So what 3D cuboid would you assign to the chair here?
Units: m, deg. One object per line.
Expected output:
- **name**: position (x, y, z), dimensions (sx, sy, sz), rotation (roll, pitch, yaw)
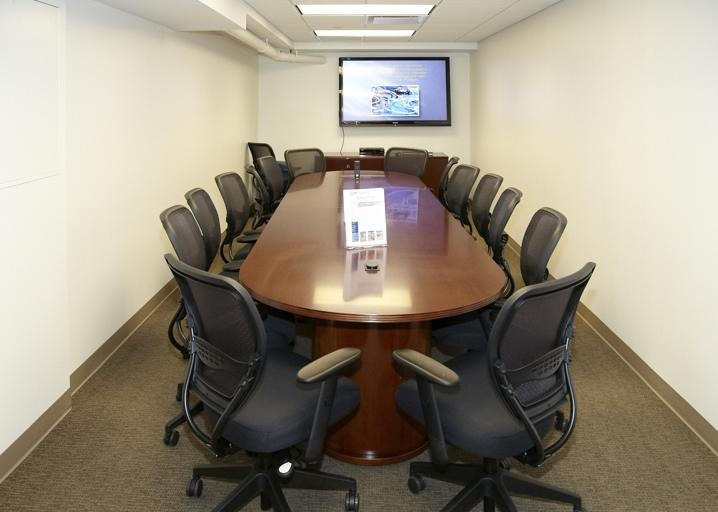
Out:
- **chair**: position (0.057, 0.406, 2.515), dimensions (1.348, 0.848, 1.755), rotation (-1, 12, -7)
